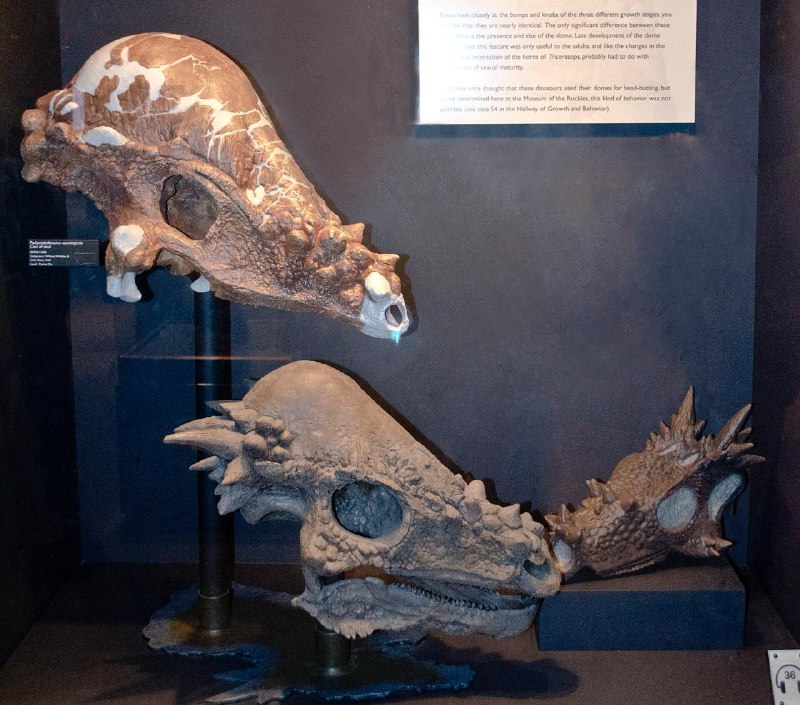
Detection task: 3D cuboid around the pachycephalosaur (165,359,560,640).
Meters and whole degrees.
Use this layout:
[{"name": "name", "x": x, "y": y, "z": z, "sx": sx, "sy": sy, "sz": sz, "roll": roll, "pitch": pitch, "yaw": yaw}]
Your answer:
[{"name": "pachycephalosaur", "x": -0.084, "y": 0.297, "z": 2.195, "sx": 0.809, "sy": 0.482, "sz": 0.409, "roll": 17, "pitch": 26, "yaw": 20}]

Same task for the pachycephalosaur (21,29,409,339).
[{"name": "pachycephalosaur", "x": -0.374, "y": -0.341, "z": 2.238, "sx": 0.856, "sy": 0.484, "sz": 0.482, "roll": 25, "pitch": 32, "yaw": 19}]

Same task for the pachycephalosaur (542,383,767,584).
[{"name": "pachycephalosaur", "x": 0.542, "y": 0.317, "z": 2.417, "sx": 0.462, "sy": 0.252, "sz": 0.317, "roll": -22, "pitch": 53, "yaw": -5}]
